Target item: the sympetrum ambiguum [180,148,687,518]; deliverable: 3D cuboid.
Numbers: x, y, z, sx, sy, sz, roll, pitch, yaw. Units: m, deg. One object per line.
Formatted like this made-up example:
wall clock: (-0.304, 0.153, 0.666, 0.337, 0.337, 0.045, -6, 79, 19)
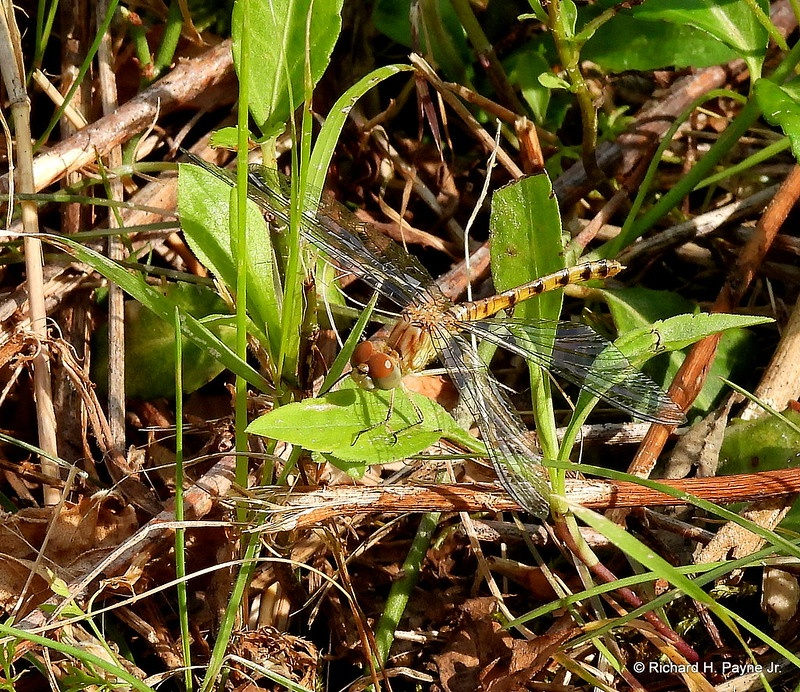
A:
sympetrum ambiguum: (0.157, -0.061, 2.122, 0.535, 0.431, 1.050, -32, 65, -23)
